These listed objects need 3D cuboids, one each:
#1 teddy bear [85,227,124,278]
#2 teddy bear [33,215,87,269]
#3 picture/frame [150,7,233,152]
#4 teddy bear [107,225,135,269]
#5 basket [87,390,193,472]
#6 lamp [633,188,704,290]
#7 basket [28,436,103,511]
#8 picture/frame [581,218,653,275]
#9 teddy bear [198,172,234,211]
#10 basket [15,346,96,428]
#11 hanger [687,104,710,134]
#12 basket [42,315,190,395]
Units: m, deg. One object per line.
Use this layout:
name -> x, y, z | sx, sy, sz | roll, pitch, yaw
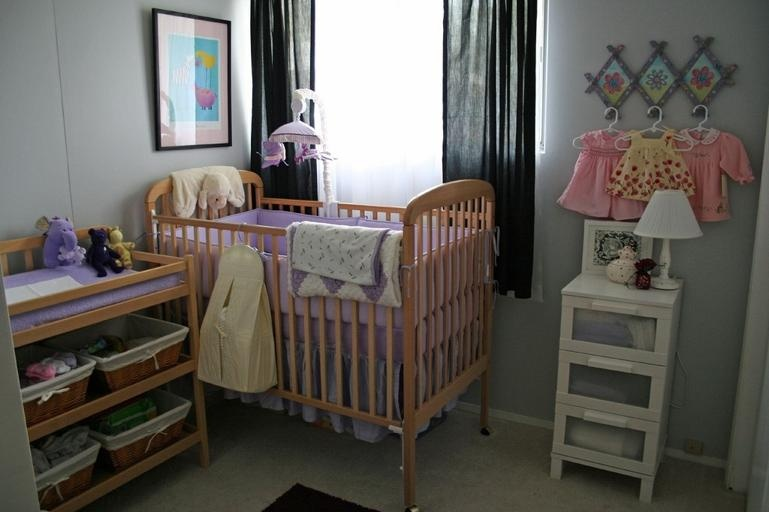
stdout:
teddy bear -> -1.619, -0.028, 3.365 | 0.172, 0.261, 0.186 | 13, 16, 34
teddy bear -> -1.858, -0.085, 3.386 | 0.227, 0.288, 0.202 | 2, 15, -16
picture/frame -> -1.326, -1.202, 4.038 | 0.077, 0.891, 0.660 | 10, 19, 38
teddy bear -> -1.568, -0.053, 3.475 | 0.134, 0.254, 0.184 | 5, 9, 28
basket -> -1.389, 0.974, 3.389 | 0.336, 0.195, 0.450 | 12, 19, 30
lamp -> 1.635, -0.096, 3.336 | 0.299, 0.578, 0.385 | 12, 20, 42
basket -> -1.648, 1.148, 3.029 | 0.270, 0.240, 0.366 | 3, 7, 28
picture/frame -> 1.414, -0.063, 3.523 | 0.328, 0.302, 0.032 | 1, 4, 21
teddy bear -> -1.191, -0.461, 4.132 | 0.236, 0.267, 0.190 | -14, 44, -40
basket -> -1.795, 0.671, 3.105 | 0.388, 0.217, 0.522 | -8, 10, -44
hanger -> 1.802, -0.785, 3.354 | 0.157, 0.183, 0.014 | 6, 16, 34
basket -> -1.487, 0.474, 3.413 | 0.451, 0.187, 0.549 | 6, 9, 28
